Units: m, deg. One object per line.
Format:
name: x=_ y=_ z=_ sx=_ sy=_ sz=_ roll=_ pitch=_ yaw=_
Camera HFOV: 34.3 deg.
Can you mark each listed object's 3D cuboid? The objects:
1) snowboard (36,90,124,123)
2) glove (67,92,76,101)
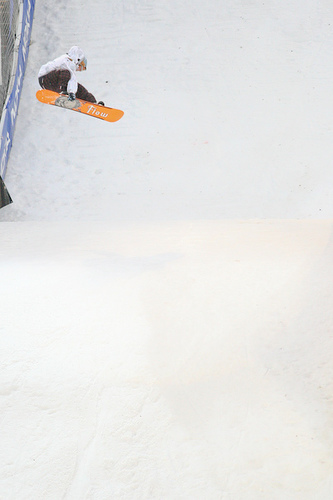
snowboard: x=-0.586 y=-1.018 z=3.848 sx=0.752 sy=0.168 sz=0.098 roll=5 pitch=43 yaw=-29
glove: x=-0.633 y=-1.027 z=3.598 sx=0.055 sy=0.082 sz=0.084 roll=-1 pitch=35 yaw=-7
